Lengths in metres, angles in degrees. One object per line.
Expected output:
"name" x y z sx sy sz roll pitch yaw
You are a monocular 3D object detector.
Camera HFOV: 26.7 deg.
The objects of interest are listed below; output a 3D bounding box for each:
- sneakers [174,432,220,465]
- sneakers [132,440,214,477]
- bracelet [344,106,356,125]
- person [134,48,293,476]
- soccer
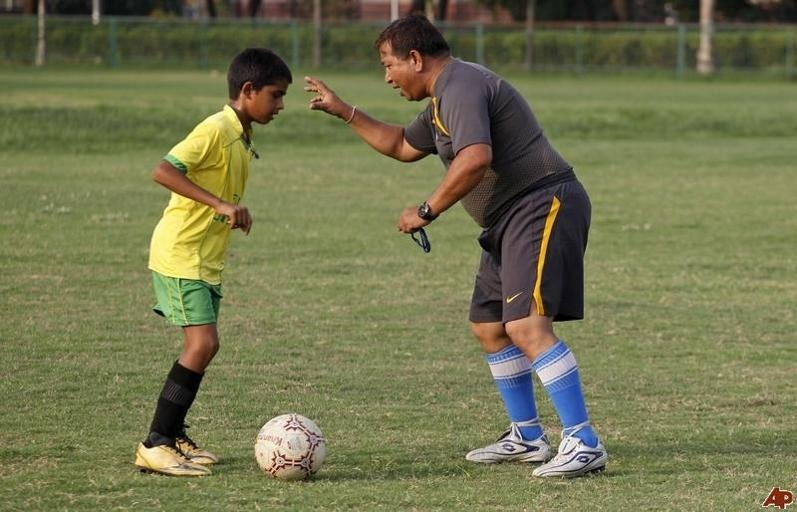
"sneakers" -1.570 1.517 13.139 0.479 0.184 0.152 11 16 -4
"sneakers" -1.776 1.591 13.094 0.631 0.207 0.222 2 -2 2
"bracelet" -0.387 -1.173 13.805 0.041 0.117 0.129 16 -16 -4
"person" -1.489 0.020 13.097 1.152 3.306 0.636 -5 7 -38
"soccer" -0.830 1.499 13.133 0.530 0.483 0.515 -6 41 -25
